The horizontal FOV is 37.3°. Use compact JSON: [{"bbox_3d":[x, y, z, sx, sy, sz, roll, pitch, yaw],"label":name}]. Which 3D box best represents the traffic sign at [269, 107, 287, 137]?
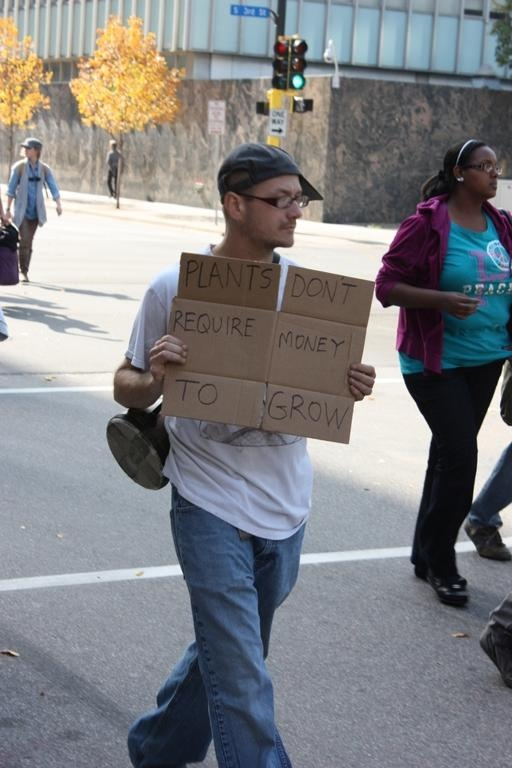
[{"bbox_3d":[0.572,-7.029,20.353,0.459,0.739,1.040,4,9,-2],"label":"traffic sign"}]

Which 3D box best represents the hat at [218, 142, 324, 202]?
[{"bbox_3d":[0.031,-0.476,1.707,0.224,0.113,0.166,1,6,-4],"label":"hat"}]

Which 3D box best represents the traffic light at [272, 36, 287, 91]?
[{"bbox_3d":[0.563,-7.583,17.965,0.361,1.189,0.465,3,9,-9],"label":"traffic light"}]

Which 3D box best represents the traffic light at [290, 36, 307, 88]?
[{"bbox_3d":[1.001,-7.657,18.086,0.388,1.294,1.069,4,9,2],"label":"traffic light"}]
